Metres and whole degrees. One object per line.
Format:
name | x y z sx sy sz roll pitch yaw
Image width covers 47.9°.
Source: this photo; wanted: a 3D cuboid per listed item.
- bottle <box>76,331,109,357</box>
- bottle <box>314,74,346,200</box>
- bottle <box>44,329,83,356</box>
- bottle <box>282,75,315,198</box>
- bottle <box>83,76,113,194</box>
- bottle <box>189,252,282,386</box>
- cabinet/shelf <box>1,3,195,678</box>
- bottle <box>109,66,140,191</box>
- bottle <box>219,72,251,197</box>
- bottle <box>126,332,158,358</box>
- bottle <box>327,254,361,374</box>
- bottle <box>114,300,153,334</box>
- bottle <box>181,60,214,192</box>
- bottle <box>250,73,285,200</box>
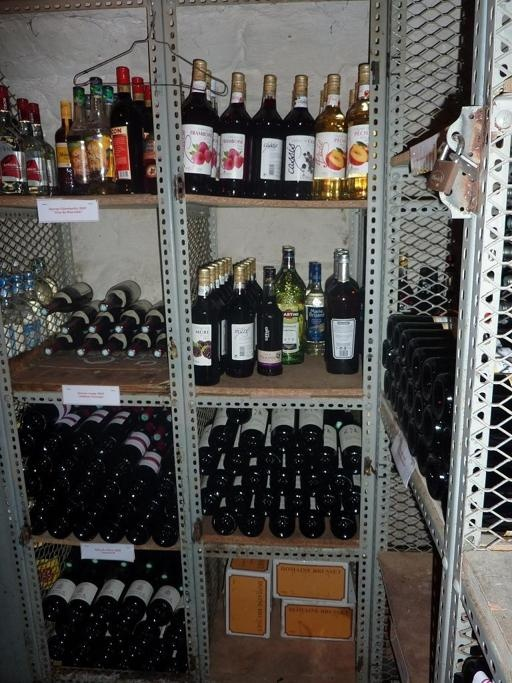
bottle | -0.485 0.008 1.713 0.045 0.049 0.142 -8 15 16
bottle | 0.194 -0.537 1.534 0.085 0.308 0.177 2 14 7
bottle | -0.579 0.005 1.748 0.035 0.037 0.110 21 16 -5
bottle | 0.111 -0.538 1.533 0.082 0.312 0.131 1 14 5
bottle | -0.406 -0.534 1.502 0.086 0.296 0.088 -4 2 0
bottle | -0.046 -0.076 1.651 0.235 0.310 0.359 0 15 2
cabinet/shelf | -0.435 0.085 1.622 0.577 1.867 0.354 -1 14 -3
bottle | -0.332 -0.509 1.466 0.075 0.257 0.129 -1 14 -4
bottle | -0.057 -0.540 1.518 0.085 0.312 0.185 0 14 -1
bottle | -0.345 0.011 1.742 0.052 0.057 0.181 3 14 2
bottle | 0.240 -0.082 1.606 0.101 0.345 0.217 3 14 10
bottle | -0.387 -0.072 1.796 0.053 0.061 0.219 8 22 3
bottle | -0.143 -0.536 1.461 0.087 0.318 0.180 -1 14 -4
bottle | 0.029 -0.546 1.543 0.087 0.319 0.191 0 14 1
